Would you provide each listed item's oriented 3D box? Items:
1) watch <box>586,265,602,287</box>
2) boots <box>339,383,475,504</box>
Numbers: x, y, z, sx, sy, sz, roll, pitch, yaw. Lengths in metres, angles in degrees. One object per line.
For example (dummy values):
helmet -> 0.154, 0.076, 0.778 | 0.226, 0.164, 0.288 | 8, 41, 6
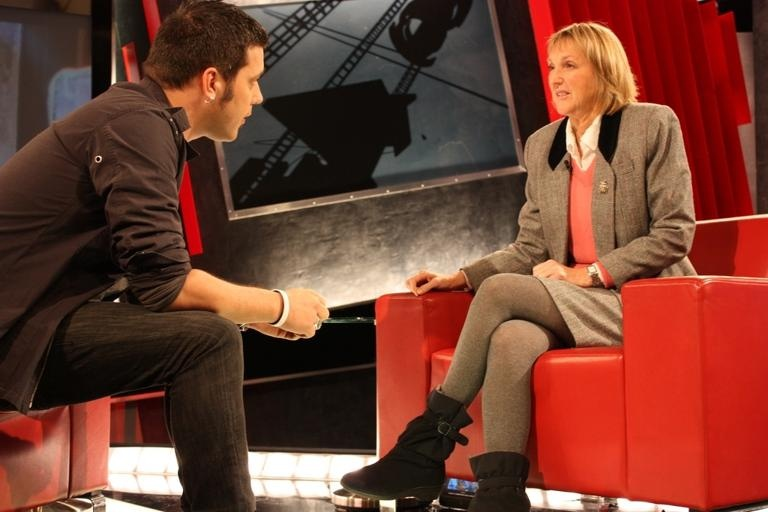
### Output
watch -> 0.711, 0.068, 2.149 | 0.038, 0.053, 0.055 | -20, 40, -11
boots -> 0.057, 0.608, 2.017 | 0.445, 0.297, 0.173 | 8, -3, -31
